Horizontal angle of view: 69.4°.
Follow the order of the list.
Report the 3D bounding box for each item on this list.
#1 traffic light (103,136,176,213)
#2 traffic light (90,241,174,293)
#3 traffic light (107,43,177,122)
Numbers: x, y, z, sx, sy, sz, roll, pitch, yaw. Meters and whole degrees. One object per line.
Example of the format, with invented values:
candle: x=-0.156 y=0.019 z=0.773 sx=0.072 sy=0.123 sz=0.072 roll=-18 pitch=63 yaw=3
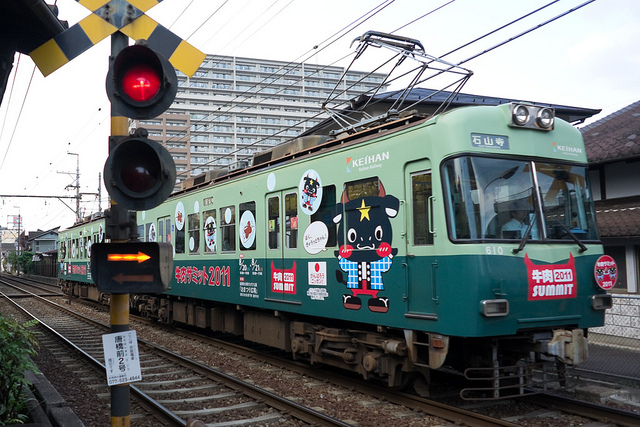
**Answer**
traffic light: x=-1.667 y=-0.377 z=4.366 sx=0.632 sy=0.588 sz=0.292 roll=7 pitch=-5 yaw=5
traffic light: x=-1.805 y=0.511 z=4.500 sx=0.686 sy=0.491 sz=0.407 roll=0 pitch=3 yaw=5
traffic light: x=-1.700 y=-1.227 z=4.414 sx=0.670 sy=0.604 sz=0.287 roll=9 pitch=-5 yaw=-13
